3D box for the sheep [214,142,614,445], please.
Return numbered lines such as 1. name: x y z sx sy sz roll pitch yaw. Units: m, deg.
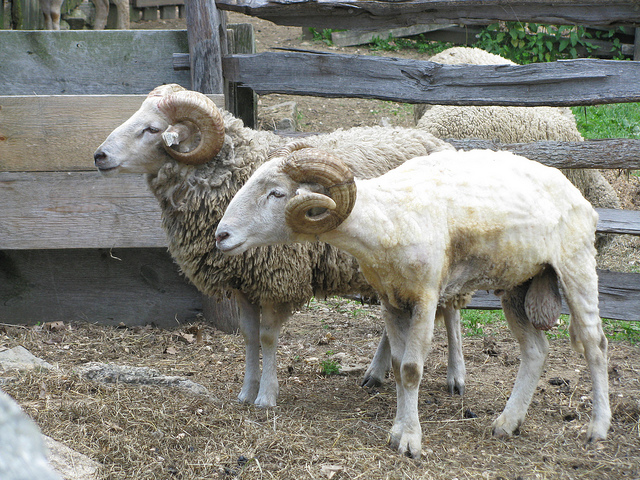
1. sheep: 0.743 0.474 7.258 3.283 2.182 1.146 0 -6 -19
